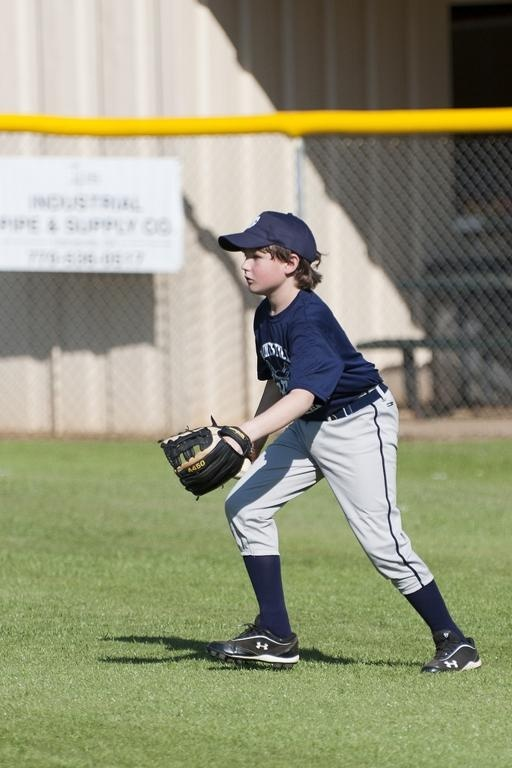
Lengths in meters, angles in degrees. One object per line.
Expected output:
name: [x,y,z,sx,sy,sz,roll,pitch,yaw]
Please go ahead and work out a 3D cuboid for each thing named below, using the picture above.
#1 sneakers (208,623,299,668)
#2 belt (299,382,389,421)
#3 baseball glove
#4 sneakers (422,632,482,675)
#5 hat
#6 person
sneakers: [0.002,0.754,3.527,0.288,0.145,0.107,5,-7,-4]
belt: [0.265,0.052,3.410,0.252,0.098,0.093,-4,7,-14]
baseball glove: [-0.122,0.209,3.177,0.231,0.152,0.168,-26,25,-28]
sneakers: [0.557,0.751,3.375,0.216,0.108,0.071,3,-6,-43]
hat: [0.038,-0.429,3.463,0.287,0.147,0.181,5,3,-10]
person: [0.187,0.172,3.337,0.764,1.310,0.634,0,7,17]
